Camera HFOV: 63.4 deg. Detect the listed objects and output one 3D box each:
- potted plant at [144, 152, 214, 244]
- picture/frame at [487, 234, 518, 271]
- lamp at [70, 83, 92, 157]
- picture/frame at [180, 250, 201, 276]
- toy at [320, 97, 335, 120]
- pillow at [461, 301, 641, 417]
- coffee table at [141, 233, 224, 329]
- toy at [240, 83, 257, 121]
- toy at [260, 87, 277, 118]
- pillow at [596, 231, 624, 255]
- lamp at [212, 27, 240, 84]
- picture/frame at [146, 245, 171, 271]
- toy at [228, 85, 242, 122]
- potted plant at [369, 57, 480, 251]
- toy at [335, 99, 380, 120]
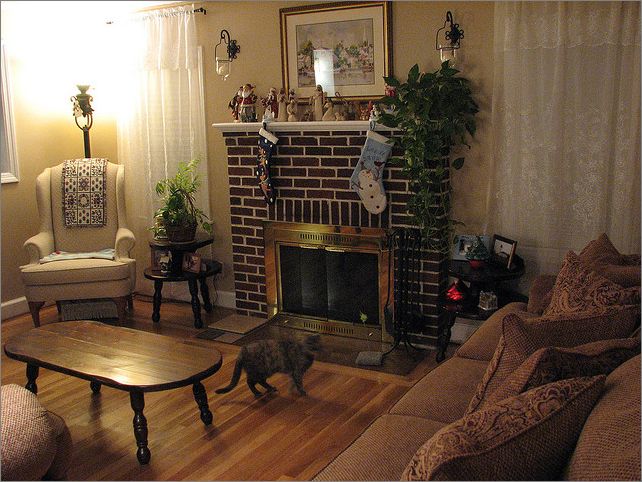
[{"bbox_3d":[-1.244,-0.384,4.631,0.501,0.720,0.534,-2,9,-12],"label":"potted plant"},{"bbox_3d":[1.253,0.082,3.579,0.116,0.209,0.211,-4,12,-18],"label":"picture/frame"},{"bbox_3d":[-2.263,-1.133,4.939,0.196,0.673,0.534,-4,9,-24],"label":"lamp"},{"bbox_3d":[-1.143,0.191,4.526,0.200,0.190,0.021,8,7,23],"label":"picture/frame"},{"bbox_3d":[0.064,-1.015,4.001,0.110,0.171,0.098,3,9,21],"label":"toy"},{"bbox_3d":[0.913,0.355,1.905,0.576,0.165,0.415,-2,29,3],"label":"pillow"},{"bbox_3d":[-1.242,0.274,4.774,0.780,0.796,0.770,3,9,16],"label":"coffee table"},{"bbox_3d":[-0.612,-1.154,4.327,0.151,0.332,0.198,-2,9,-8],"label":"toy"},{"bbox_3d":[-0.420,-1.126,4.263,0.130,0.254,0.286,-1,8,-6],"label":"toy"},{"bbox_3d":[1.525,0.012,2.797,0.125,0.144,0.135,-15,2,25],"label":"pillow"},{"bbox_3d":[-0.789,-1.580,4.344,0.216,0.433,0.440,-2,9,-11],"label":"lamp"},{"bbox_3d":[-1.462,0.141,4.679,0.216,0.243,0.034,3,9,19],"label":"picture/frame"},{"bbox_3d":[-0.723,-1.170,4.397,0.126,0.301,0.297,-2,9,-10],"label":"toy"},{"bbox_3d":[0.746,-0.574,3.638,0.706,1.300,0.387,1,9,8],"label":"potted plant"},{"bbox_3d":[0.248,-1.027,4.031,0.400,0.203,0.091,6,16,23],"label":"toy"}]
